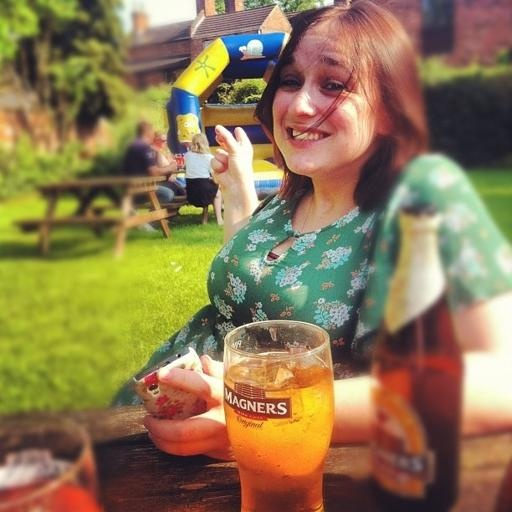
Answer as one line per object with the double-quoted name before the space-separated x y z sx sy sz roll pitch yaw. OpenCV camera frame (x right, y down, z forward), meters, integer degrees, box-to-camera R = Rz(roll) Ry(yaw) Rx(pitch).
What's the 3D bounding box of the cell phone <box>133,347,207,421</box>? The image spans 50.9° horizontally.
"cell phone" -0.127 0.199 0.876 0.131 0.118 0.028 -26 29 9
